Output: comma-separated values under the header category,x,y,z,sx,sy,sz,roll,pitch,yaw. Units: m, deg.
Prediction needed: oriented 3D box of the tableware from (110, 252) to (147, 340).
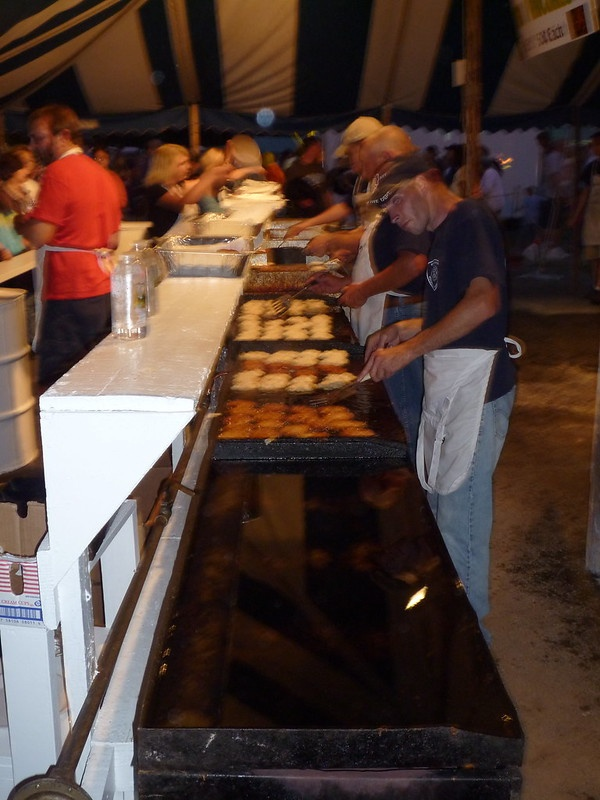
category,x,y,z,sx,sy,sz,roll,pitch,yaw
tableware,-0.428,-0.257,1.630,0.101,0.205,0.094,-2,9,-17

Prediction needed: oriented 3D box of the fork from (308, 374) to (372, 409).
category,x,y,z,sx,sy,sz,roll,pitch,yaw
fork,0.175,-0.075,2.410,0.081,0.071,0.441,13,26,27

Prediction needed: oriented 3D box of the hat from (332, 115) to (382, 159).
category,x,y,z,sx,sy,sz,roll,pitch,yaw
hat,0.325,-1.408,3.428,0.218,0.192,0.528,-6,24,-2

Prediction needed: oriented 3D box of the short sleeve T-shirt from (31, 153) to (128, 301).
category,x,y,z,sx,sy,sz,roll,pitch,yaw
short sleeve T-shirt,-1.218,-0.949,3.545,0.537,0.790,0.407,-17,28,-22

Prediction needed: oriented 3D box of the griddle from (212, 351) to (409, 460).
category,x,y,z,sx,sy,sz,roll,pitch,yaw
griddle,0.020,0.017,2.252,0.593,0.119,0.834,-4,24,1

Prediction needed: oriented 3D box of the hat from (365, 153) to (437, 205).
category,x,y,z,sx,sy,sz,roll,pitch,yaw
hat,0.329,-0.759,2.220,0.188,0.165,0.260,-18,27,-24

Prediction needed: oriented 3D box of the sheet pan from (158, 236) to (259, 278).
category,x,y,z,sx,sy,sz,roll,pitch,yaw
sheet pan,-0.490,-0.769,3.375,0.458,0.200,0.953,-9,24,-8
